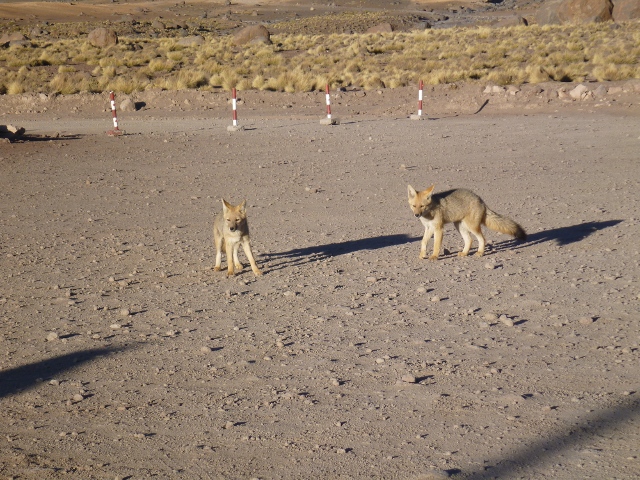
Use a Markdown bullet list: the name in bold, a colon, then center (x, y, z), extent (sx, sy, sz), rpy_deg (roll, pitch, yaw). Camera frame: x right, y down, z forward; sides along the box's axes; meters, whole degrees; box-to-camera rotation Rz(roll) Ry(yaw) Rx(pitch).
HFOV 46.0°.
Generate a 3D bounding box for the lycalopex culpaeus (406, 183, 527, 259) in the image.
- **lycalopex culpaeus**: center (2.468, -0.278, 12.997), extent (2.454, 1.231, 0.605), rpy_deg (2, -3, -29)

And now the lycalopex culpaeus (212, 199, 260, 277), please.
- **lycalopex culpaeus**: center (-1.440, -0.089, 12.345), extent (0.743, 1.461, 0.997), rpy_deg (-9, 29, -13)
